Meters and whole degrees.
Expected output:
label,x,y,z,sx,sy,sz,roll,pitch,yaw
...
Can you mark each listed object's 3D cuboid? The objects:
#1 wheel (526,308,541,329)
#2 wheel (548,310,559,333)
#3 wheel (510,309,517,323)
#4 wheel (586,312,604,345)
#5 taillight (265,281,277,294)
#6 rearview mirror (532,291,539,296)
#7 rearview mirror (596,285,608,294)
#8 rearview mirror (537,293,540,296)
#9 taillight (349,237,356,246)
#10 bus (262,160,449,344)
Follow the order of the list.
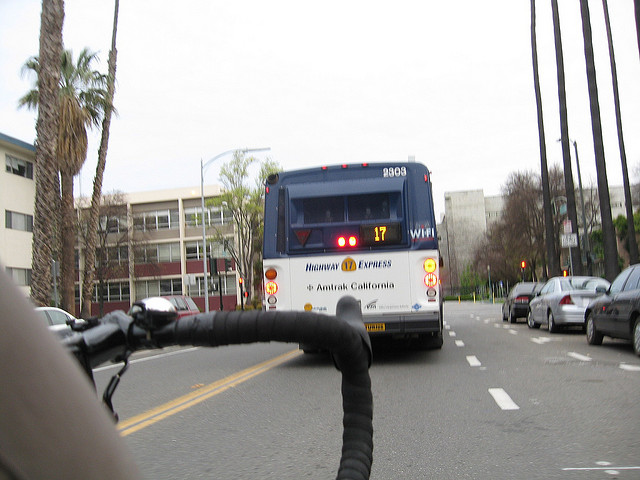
label,x,y,z,sx,sy,sz,roll,pitch,yaw
wheel,8.828,3.227,19.804,0.226,1.016,0.832,3,-3,2
wheel,8.505,2.956,17.502,0.224,0.970,0.791,0,-1,7
wheel,9.808,3.835,24.394,0.144,0.655,0.554,1,-13,6
wheel,7.645,2.473,13.349,0.306,0.875,0.994,-4,-4,24
taillight,-1.081,1.052,10.603,0.191,0.285,0.054,1,-5,-9
rearview mirror,10.348,2.556,23.093,0.191,0.247,0.341,-8,-10,41
rearview mirror,7.444,1.311,12.700,0.242,0.226,0.623,-8,-6,31
rearview mirror,9.060,2.251,19.920,0.077,0.091,0.625,-6,-6,24
taillight,0.709,0.023,10.567,0.118,0.204,0.146,0,-9,-3
bus,0.556,-0.229,8.435,2.317,2.936,4.659,-1,-7,9
